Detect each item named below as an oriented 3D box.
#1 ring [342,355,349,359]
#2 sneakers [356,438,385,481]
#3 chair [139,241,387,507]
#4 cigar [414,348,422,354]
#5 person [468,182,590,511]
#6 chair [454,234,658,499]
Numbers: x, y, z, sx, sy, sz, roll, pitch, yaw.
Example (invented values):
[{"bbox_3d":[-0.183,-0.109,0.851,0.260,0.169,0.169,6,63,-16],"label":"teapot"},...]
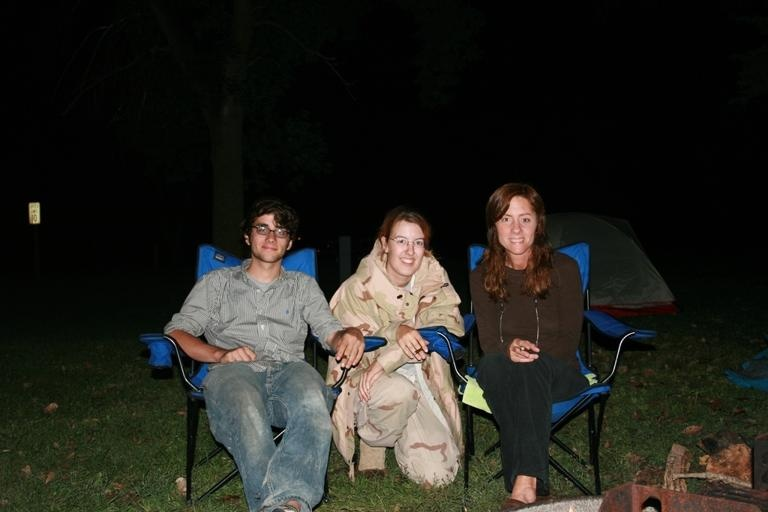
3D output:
[{"bbox_3d":[-0.324,0.846,4.908,0.028,0.029,0.036,0,-12,0],"label":"ring"},{"bbox_3d":[-0.105,1.825,5.269,0.192,0.344,0.124,1,-9,2],"label":"sneakers"},{"bbox_3d":[-1.241,1.035,5.560,2.222,2.216,1.617,7,-2,-32],"label":"chair"},{"bbox_3d":[0.298,0.820,5.043,0.023,0.022,0.087,-39,0,-28],"label":"cigar"},{"bbox_3d":[1.222,0.650,4.954,1.003,2.608,0.903,1,2,8],"label":"person"},{"bbox_3d":[1.392,1.003,5.145,1.903,2.216,1.835,0,3,30],"label":"chair"}]
